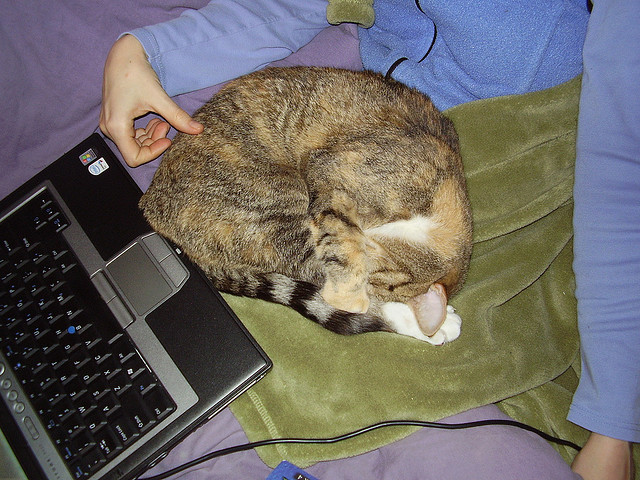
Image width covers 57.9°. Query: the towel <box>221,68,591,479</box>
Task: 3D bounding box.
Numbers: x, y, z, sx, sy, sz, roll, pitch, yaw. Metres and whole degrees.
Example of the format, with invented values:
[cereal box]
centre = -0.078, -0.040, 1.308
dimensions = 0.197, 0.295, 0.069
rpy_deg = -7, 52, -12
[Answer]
[towel]
centre = 0.297, 0.128, 1.543
dimensions = 1.083, 0.645, 0.756
rpy_deg = -16, 48, -10
